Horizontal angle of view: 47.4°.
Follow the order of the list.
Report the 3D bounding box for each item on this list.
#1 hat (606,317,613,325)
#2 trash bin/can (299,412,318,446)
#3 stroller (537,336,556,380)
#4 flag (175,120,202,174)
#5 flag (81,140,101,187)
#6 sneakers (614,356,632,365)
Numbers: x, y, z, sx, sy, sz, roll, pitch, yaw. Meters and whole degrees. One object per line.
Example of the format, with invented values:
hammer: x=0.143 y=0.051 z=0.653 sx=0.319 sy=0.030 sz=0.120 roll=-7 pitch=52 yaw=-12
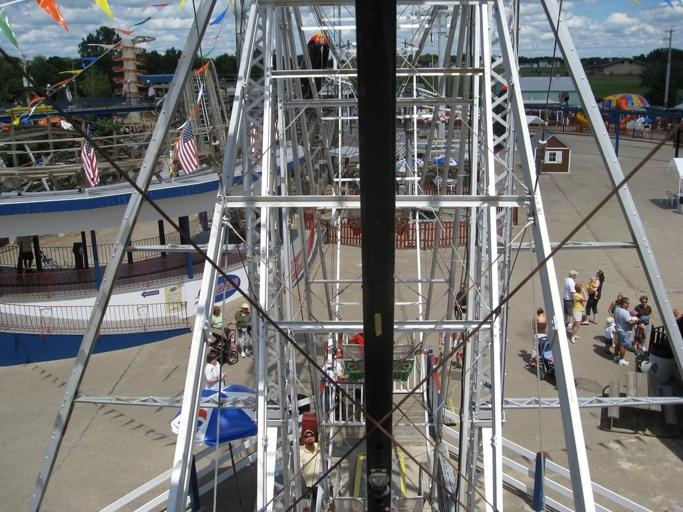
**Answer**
hat: x=8.066 y=1.952 z=23.255 sx=0.204 sy=0.205 sz=0.205 roll=-24 pitch=18 yaw=-25
trash bin/can: x=-0.892 y=4.232 z=19.323 sx=0.427 sy=0.627 sz=0.409 roll=-9 pitch=-17 yaw=42
stroller: x=5.792 y=2.911 z=21.813 sx=0.424 sy=1.274 sz=0.846 roll=2 pitch=23 yaw=13
flag: x=-5.197 y=-3.661 z=25.822 sx=0.665 sy=0.191 sz=2.113 roll=-10 pitch=66 yaw=-3
flag: x=-7.924 y=-2.907 z=24.549 sx=0.409 sy=1.640 sz=0.264 roll=-17 pitch=42 yaw=-24
sneakers: x=8.133 y=3.026 z=22.497 sx=0.494 sy=0.263 sz=0.199 roll=1 pitch=15 yaw=-5
